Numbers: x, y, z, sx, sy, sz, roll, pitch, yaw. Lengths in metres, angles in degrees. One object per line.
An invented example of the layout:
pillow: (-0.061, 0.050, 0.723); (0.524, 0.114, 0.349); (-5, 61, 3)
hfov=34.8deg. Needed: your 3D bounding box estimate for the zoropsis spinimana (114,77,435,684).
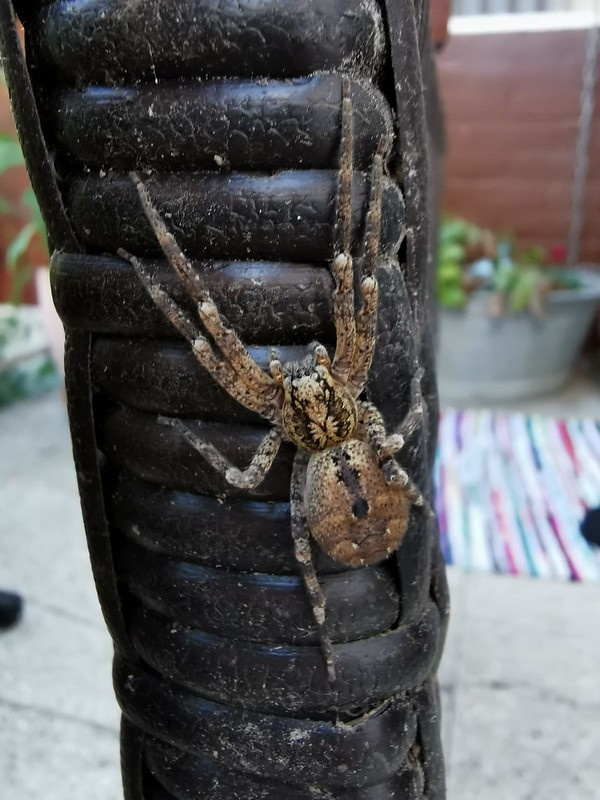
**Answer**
zoropsis spinimana: (-0.018, -0.048, 1.166); (0.355, 0.635, 0.168); (-18, 23, -8)
